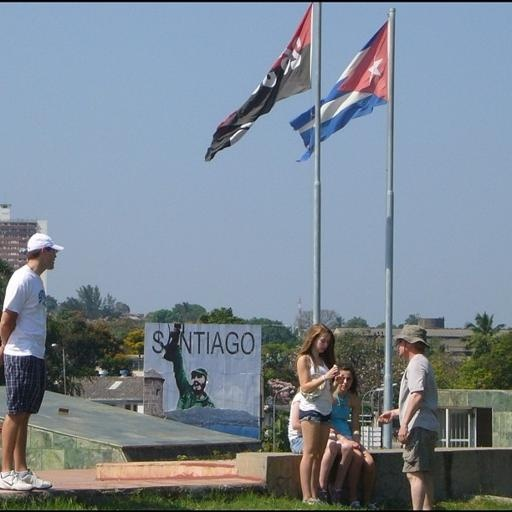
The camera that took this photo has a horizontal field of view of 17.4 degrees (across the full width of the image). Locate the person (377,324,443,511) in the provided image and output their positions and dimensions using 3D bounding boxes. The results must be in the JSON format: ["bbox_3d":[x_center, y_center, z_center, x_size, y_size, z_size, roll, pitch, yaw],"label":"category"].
[{"bbox_3d":[2.761,2.742,28.850,0.748,3.106,0.578,2,-11,4],"label":"person"}]

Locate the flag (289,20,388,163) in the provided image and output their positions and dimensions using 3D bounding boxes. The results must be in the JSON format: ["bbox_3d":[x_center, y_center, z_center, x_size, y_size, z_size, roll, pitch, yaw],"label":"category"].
[{"bbox_3d":[1.792,-3.627,36.594,2.640,0.299,3.068,-16,-51,-17],"label":"flag"}]

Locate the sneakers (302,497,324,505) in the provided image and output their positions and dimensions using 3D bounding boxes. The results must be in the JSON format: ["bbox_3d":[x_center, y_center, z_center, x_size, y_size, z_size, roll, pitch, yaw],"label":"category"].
[{"bbox_3d":[0.982,4.167,28.750,0.372,0.178,0.133,5,-4,18],"label":"sneakers"}]

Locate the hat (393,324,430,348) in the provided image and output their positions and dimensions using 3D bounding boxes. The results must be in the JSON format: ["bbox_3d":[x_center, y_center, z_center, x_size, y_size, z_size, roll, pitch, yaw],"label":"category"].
[{"bbox_3d":[2.690,1.352,29.051,0.405,0.239,0.408,8,-5,22],"label":"hat"}]

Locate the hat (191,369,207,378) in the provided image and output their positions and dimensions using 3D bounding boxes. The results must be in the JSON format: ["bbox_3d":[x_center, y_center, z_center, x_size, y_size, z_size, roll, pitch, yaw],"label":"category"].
[{"bbox_3d":[-2.557,5.448,77.784,0.555,0.513,0.418,-23,12,-20],"label":"hat"}]

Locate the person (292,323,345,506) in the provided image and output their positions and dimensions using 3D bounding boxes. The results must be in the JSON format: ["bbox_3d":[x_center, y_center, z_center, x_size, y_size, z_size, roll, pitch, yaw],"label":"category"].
[{"bbox_3d":[1.038,2.682,29.024,0.721,3.088,0.718,2,-11,0],"label":"person"}]

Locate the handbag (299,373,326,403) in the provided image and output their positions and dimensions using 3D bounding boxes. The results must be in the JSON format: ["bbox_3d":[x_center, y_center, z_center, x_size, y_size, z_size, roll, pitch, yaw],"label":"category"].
[{"bbox_3d":[0.993,2.323,28.957,0.387,0.312,0.217,1,-11,6],"label":"handbag"}]
